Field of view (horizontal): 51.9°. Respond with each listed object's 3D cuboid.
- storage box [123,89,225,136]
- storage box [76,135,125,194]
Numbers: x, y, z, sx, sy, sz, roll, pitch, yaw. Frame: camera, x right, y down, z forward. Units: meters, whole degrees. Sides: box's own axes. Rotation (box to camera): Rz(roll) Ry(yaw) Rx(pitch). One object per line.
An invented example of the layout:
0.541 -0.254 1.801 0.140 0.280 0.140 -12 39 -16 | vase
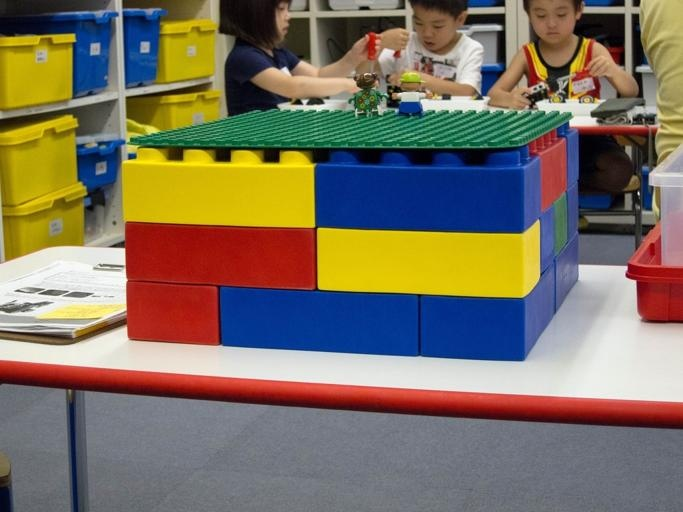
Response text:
-0.837 -0.752 3.607 0.544 0.222 0.599 3 16 19 | storage box
-1.065 -0.407 3.078 0.178 0.159 0.297 1 15 11 | storage box
